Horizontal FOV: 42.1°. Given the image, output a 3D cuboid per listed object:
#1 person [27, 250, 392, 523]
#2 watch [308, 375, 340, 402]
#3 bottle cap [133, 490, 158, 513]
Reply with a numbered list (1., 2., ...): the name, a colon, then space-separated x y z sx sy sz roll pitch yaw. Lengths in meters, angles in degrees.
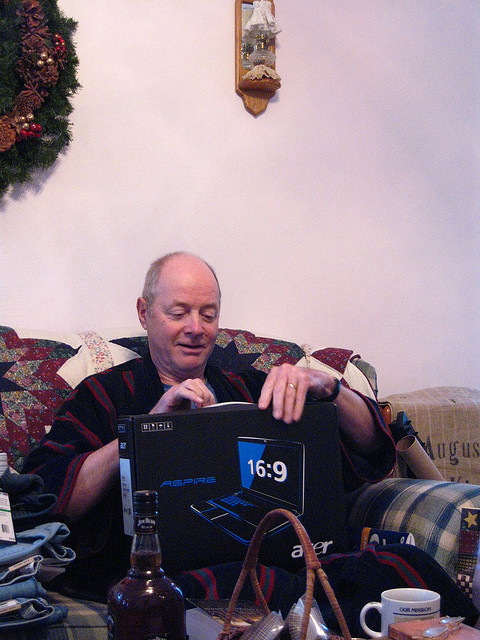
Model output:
1. person: -0.104 0.164 1.464 0.838 0.653 0.470 -4 -17 -19
2. watch: 0.194 0.164 1.443 0.058 0.042 0.058 -24 -6 -14
3. bottle cap: -0.086 0.166 0.576 0.021 0.018 0.021 -6 -8 35
